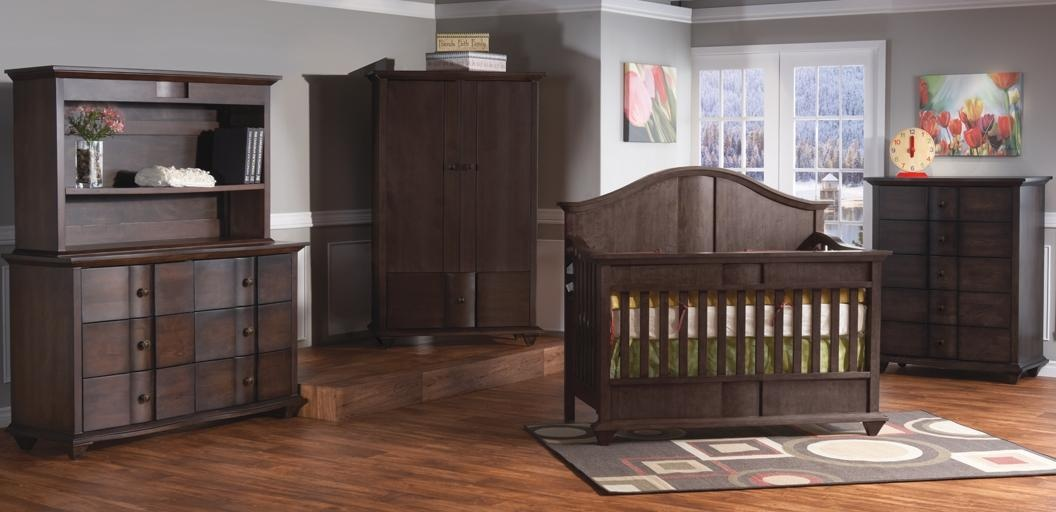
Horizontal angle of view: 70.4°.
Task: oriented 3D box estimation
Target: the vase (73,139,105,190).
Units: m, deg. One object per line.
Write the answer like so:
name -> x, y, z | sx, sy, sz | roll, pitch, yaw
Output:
vase -> -3.387, -0.706, 5.788 | 0.191, 0.372, 0.198 | -5, 10, -26

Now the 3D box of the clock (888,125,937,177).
clock -> 3.731, -1.012, 7.339 | 0.361, 0.482, 0.444 | 4, 10, 31

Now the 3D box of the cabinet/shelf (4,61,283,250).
cabinet/shelf -> -3.153, -0.798, 6.020 | 2.181, 1.088, 0.705 | -3, 4, -42

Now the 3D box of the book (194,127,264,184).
book -> -2.472, -0.829, 6.252 | 0.666, 0.425, 0.319 | 4, 7, 22

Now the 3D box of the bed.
bed -> 1.555, 0.473, 6.014 | 3.526, 2.020, 1.535 | 0, 2, -7

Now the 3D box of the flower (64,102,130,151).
flower -> -3.349, -1.038, 5.942 | 0.470, 0.301, 0.445 | 15, 7, 18
